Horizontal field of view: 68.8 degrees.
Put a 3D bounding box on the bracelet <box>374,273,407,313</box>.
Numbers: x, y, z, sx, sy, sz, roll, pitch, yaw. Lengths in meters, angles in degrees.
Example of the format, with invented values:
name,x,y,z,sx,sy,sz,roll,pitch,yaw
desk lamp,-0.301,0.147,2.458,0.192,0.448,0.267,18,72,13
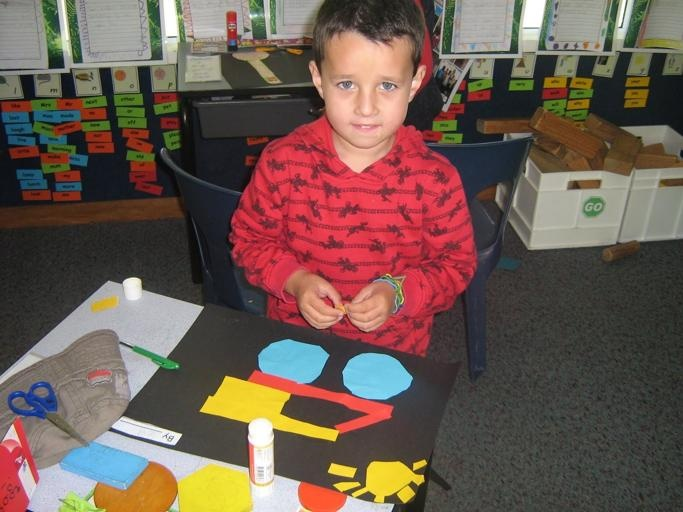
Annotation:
name,x,y,z,sx,sy,sz,roll,pitch,yaw
bracelet,0.116,0.076,1.096,0.063,0.044,0.086,3,65,-2

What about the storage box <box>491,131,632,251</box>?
name,x,y,z,sx,sy,sz,roll,pitch,yaw
storage box,1.199,-0.258,2.879,0.673,0.494,0.703,2,42,-3

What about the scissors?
name,x,y,z,sx,sy,sz,roll,pitch,yaw
scissors,-0.537,0.296,0.904,0.163,0.065,0.074,23,34,35

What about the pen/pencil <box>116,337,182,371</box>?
name,x,y,z,sx,sy,sz,roll,pitch,yaw
pen/pencil,-0.403,0.208,1.043,0.117,0.018,0.012,27,2,22
